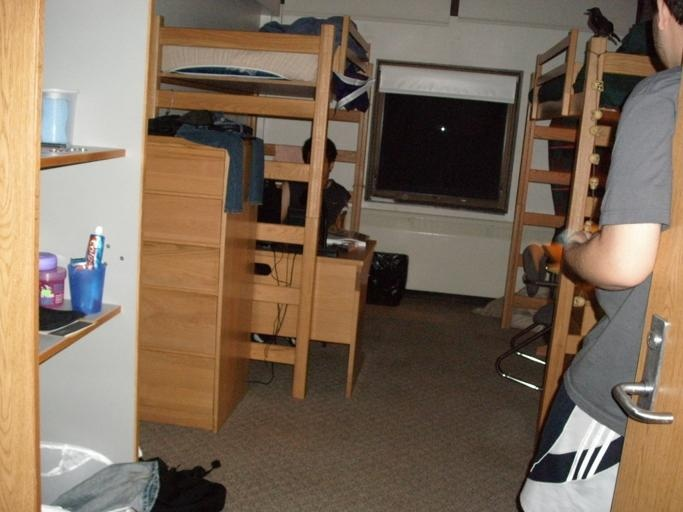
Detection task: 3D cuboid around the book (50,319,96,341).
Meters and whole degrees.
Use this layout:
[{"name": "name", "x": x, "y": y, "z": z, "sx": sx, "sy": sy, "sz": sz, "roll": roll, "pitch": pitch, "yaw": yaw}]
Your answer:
[{"name": "book", "x": -0.816, "y": 0.220, "z": 1.680, "sx": 0.060, "sy": 0.018, "sz": 0.151, "roll": 7, "pitch": 12, "yaw": 9}]

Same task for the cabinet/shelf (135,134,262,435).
[{"name": "cabinet/shelf", "x": -0.794, "y": 0.165, "z": 3.100, "sx": 0.630, "sy": 1.592, "sz": 0.418, "roll": 1, "pitch": 12, "yaw": -19}]
